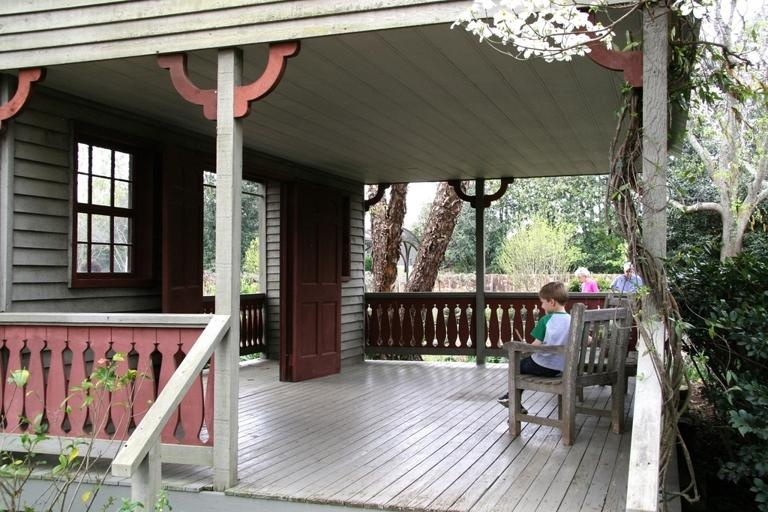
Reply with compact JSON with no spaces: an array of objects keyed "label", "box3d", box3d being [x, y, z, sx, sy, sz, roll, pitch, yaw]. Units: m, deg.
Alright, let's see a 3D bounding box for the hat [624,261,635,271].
[{"label":"hat","box3d":[2.610,0.124,6.580,0.087,0.128,0.093,3,-3,22]}]
